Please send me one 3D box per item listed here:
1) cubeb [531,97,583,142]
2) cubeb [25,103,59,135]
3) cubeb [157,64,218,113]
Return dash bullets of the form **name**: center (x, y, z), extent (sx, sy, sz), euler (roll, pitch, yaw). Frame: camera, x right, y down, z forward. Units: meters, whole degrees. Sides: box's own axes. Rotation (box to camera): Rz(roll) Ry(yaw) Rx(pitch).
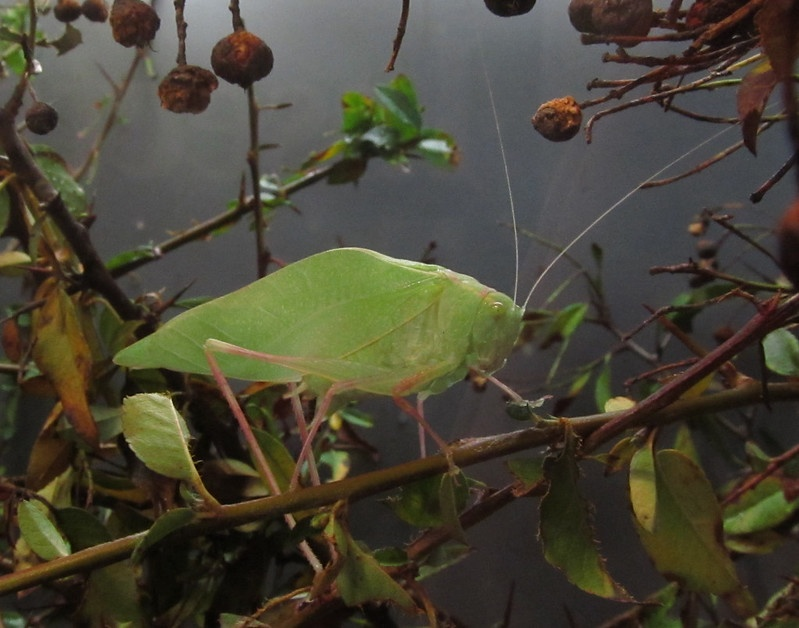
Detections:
- **cubeb**: center (0.189, -0.242, 1.222), extent (0.054, 0.034, 0.055), euler (-23, -80, 6)
- **cubeb**: center (-0.457, -0.251, 1.278), extent (0.039, 0.023, 0.041), euler (-32, -75, -13)
- **cubeb**: center (-0.273, -0.282, 1.264), extent (0.063, 0.037, 0.067), euler (-2, -85, -2)
